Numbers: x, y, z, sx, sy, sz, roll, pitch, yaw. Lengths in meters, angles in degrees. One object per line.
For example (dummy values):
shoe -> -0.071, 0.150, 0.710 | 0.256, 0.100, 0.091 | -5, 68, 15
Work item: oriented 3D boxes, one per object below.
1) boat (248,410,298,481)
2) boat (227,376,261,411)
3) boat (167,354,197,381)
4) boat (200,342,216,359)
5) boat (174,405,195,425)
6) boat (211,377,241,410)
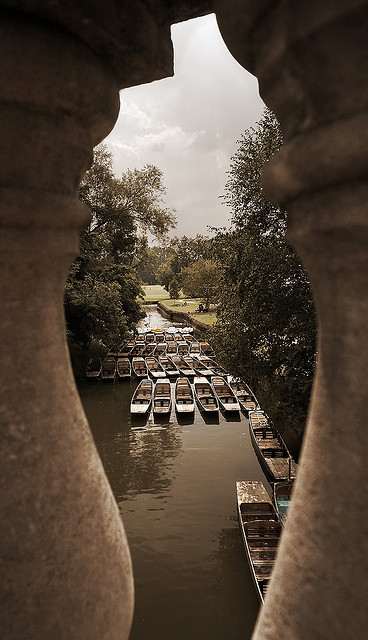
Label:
boat -> 2.657, 3.859, 14.711 | 0.661, 3.793, 0.470 | -4, 39, 25
boat -> 2.732, 3.414, 21.171 | 0.780, 0.687, 3.819 | -3, 9, -1
boat -> -0.024, 2.817, 27.243 | 0.597, 0.314, 2.894 | -1, 17, -9
boat -> 1.376, 1.845, 27.822 | 0.820, 0.512, 4.148 | -6, 5, -1
boat -> 0.025, 3.967, 18.990 | 0.702, 0.245, 0.897 | -3, 6, -1
boat -> 1.858, 3.326, 21.062 | 1.035, 0.946, 5.138 | -2, 7, -1
